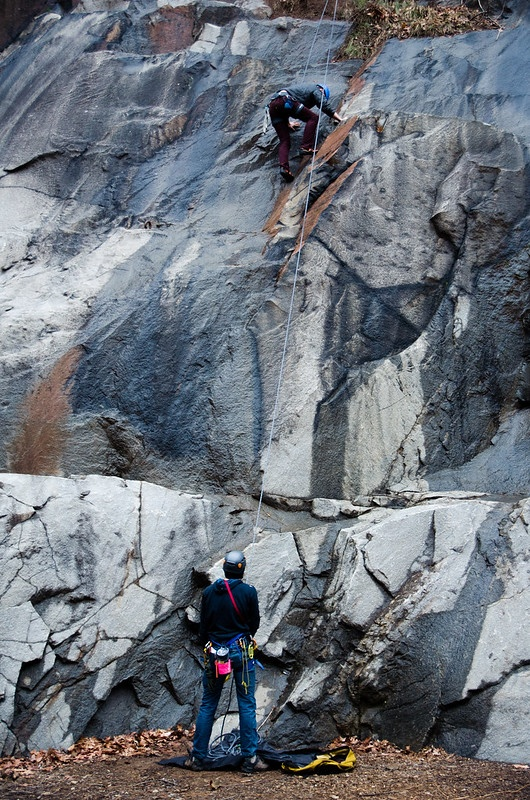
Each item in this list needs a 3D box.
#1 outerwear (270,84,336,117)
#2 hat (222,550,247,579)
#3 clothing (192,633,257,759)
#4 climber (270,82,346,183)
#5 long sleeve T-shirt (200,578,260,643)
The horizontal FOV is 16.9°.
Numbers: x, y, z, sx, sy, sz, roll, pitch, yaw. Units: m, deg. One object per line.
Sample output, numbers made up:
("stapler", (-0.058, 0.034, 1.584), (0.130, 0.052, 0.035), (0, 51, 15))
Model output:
("outerwear", (0.467, -3.217, 19.252), (0.376, 0.185, 0.546), (9, 22, -24))
("hat", (-0.267, 1.434, 15.514), (0.169, 0.234, 0.226), (6, 28, 9))
("clothing", (-0.311, 2.575, 15.409), (0.563, 1.051, 0.302), (5, 6, 0))
("climber", (0.400, -2.942, 19.405), (0.696, 1.247, 0.664), (1, -25, 15))
("long sleeve T-shirt", (-0.301, 1.852, 15.663), (0.603, 0.734, 0.470), (-5, -9, 11))
